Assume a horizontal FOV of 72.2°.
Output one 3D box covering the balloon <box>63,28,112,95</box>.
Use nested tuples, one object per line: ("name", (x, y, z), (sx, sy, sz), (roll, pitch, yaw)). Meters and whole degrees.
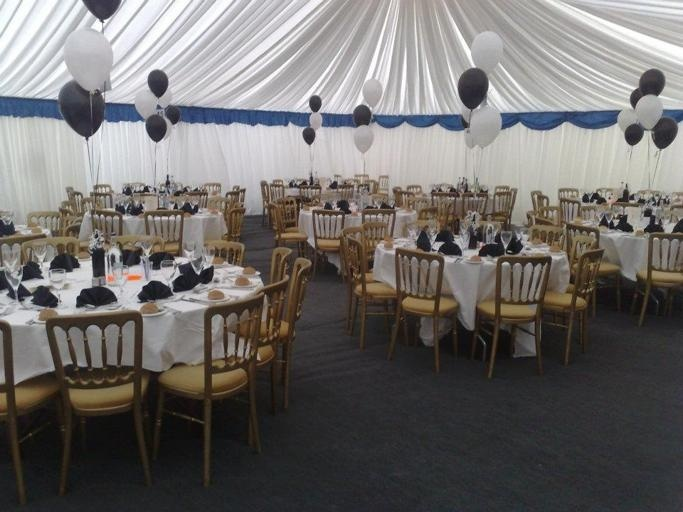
("balloon", (-2.591, -2.012, 4.829), (0.445, 0.700, 0.485), (-6, 3, -25))

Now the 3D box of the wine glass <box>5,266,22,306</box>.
("wine glass", (-2.407, 0.195, 3.459), (0.091, 0.292, 0.289), (-6, 8, -36))

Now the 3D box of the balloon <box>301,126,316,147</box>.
("balloon", (-0.899, -3.362, 13.071), (0.436, 0.715, 0.522), (0, 14, -6))

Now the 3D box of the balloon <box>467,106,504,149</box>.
("balloon", (1.999, -1.853, 6.588), (0.397, 0.603, 0.590), (1, 7, 16))

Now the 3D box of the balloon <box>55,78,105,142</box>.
("balloon", (-2.836, -1.648, 5.154), (0.487, 0.674, 0.504), (2, 7, 32))

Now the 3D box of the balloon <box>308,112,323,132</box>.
("balloon", (-0.686, -3.712, 12.653), (0.274, 0.433, 0.593), (-1, 7, 2))

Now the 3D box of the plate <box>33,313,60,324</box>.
("plate", (-1.995, 0.404, 3.174), (0.139, 0.087, 0.202), (0, 2, -27))

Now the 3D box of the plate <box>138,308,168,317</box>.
("plate", (-1.324, 0.382, 3.320), (0.176, 0.071, 0.110), (-6, 8, -32))

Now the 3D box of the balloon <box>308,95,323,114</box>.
("balloon", (-0.673, -3.970, 12.070), (0.421, 0.404, 0.460), (2, 3, -9))
